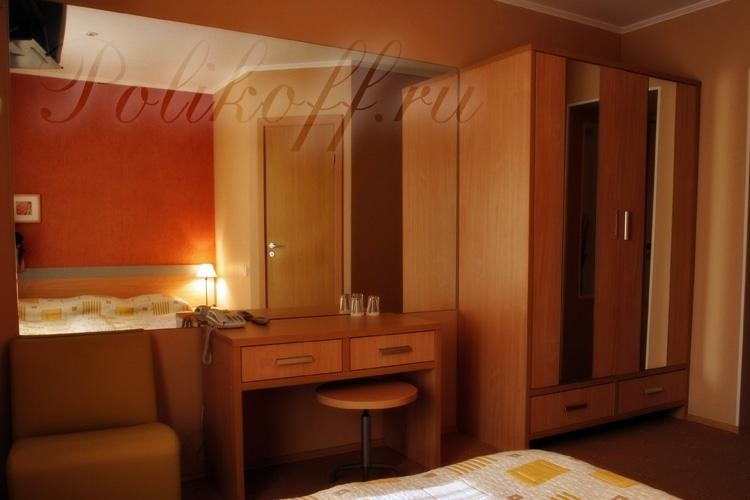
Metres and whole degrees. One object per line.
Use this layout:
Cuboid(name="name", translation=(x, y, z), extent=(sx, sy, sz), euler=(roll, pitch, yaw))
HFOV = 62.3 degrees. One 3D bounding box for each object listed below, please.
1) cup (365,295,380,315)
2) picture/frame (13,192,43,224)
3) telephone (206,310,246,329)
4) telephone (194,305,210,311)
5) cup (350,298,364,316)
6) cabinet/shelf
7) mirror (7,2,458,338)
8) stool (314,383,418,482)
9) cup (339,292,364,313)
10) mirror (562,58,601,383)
Cuboid(name="cup", translation=(-0.011, 0.381, 4.377), extent=(0.110, 0.152, 0.117), euler=(0, 1, 0))
Cuboid(name="picture/frame", translation=(-2.035, -0.249, 3.630), extent=(0.183, 0.184, 0.013), euler=(0, -1, -22))
Cuboid(name="telephone", translation=(-0.934, 0.423, 3.865), extent=(0.151, 0.057, 0.152), euler=(-1, 11, -36))
Cuboid(name="telephone", translation=(-1.084, 0.364, 3.902), extent=(0.061, 0.023, 0.048), euler=(0, -3, 10))
Cuboid(name="cup", translation=(-0.124, 0.381, 4.244), extent=(0.108, 0.126, 0.109), euler=(0, 5, 0))
Cuboid(name="cabinet/shelf", translation=(1.541, -0.027, 4.648), extent=(1.732, 2.788, 0.840), euler=(-2, 11, -17))
Cuboid(name="mirror", translation=(-1.007, -0.516, 3.959), extent=(2.333, 2.074, 0.765), euler=(-2, 2, -25))
Cuboid(name="stool", translation=(-0.063, 1.192, 3.956), extent=(0.602, 0.534, 0.593), euler=(4, -8, -42))
Cuboid(name="cup", translation=(-0.168, 0.370, 4.253), extent=(0.176, 0.154, 0.102), euler=(1, 0, -9))
Cuboid(name="mirror", translation=(1.469, -0.203, 4.437), extent=(0.278, 2.223, 0.475), euler=(3, 10, 9))
